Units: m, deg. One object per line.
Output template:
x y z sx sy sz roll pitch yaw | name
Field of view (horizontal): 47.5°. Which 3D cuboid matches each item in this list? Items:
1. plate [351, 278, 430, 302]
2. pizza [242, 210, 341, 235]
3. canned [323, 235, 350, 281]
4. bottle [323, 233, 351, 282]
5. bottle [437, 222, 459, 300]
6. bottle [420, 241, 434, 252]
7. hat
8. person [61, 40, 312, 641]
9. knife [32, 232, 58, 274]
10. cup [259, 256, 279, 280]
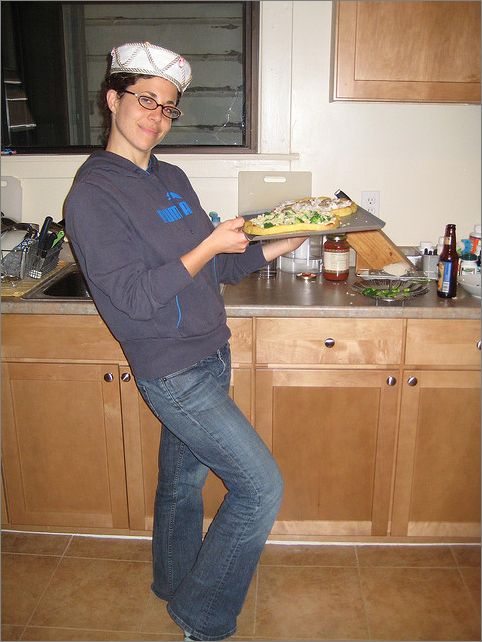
0.469 -0.106 1.737 0.220 0.041 0.220 -11 17 -36 | plate
0.143 -0.277 1.533 0.179 0.028 0.135 -2 24 0 | pizza
0.324 -0.212 1.849 0.086 0.157 0.077 1 13 7 | canned
0.323 -0.217 1.863 0.090 0.148 0.090 0 15 0 | bottle
0.651 -0.191 1.701 0.060 0.220 0.158 4 14 20 | bottle
0.690 -0.278 2.007 0.048 0.024 0.050 -3 17 1 | bottle
-0.183 -0.517 1.137 0.115 0.047 0.127 -8 27 -33 | hat
-0.115 0.139 1.328 0.471 1.489 0.548 0 13 5 | person
-0.683 -0.233 1.914 0.056 0.144 0.165 1 13 6 | knife
0.112 -0.186 1.929 0.060 0.089 0.060 0 15 0 | cup
